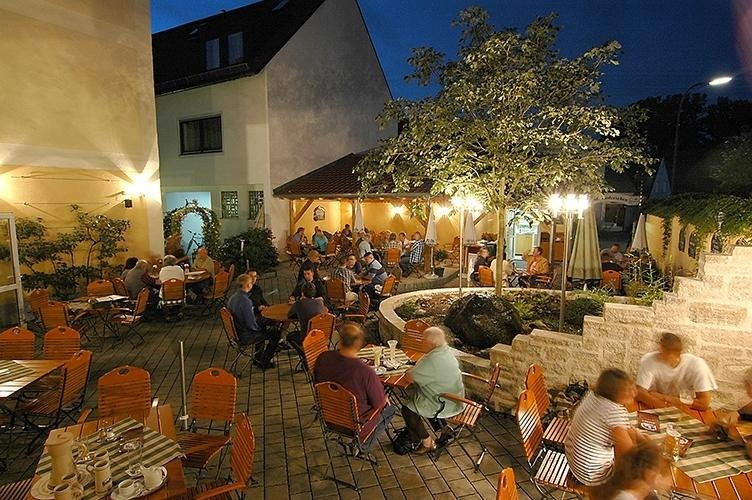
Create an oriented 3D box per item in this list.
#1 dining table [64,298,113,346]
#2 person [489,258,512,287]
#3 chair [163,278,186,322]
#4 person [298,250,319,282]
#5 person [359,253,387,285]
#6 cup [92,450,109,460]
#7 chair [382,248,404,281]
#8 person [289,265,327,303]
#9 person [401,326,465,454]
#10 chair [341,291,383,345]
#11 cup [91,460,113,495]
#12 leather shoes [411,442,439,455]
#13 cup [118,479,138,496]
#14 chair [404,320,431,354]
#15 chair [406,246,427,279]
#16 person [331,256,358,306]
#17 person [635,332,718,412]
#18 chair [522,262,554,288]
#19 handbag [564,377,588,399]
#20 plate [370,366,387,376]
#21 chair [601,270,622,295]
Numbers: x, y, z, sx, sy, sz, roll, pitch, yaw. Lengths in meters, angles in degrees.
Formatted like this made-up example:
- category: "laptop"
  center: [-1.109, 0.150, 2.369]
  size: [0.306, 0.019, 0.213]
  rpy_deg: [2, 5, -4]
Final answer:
- category: "dining table"
  center: [-6.926, 1.742, 10.485]
  size: [0.853, 1.142, 0.855]
  rpy_deg: [9, 12, 27]
- category: "person"
  center: [3.580, 0.669, 12.511]
  size: [0.870, 0.861, 0.486]
  rpy_deg: [0, 2, 6]
- category: "chair"
  center: [-5.676, 1.346, 12.199]
  size: [0.565, 1.186, 1.374]
  rpy_deg: [-2, 3, -26]
- category: "person"
  center: [-1.977, 0.446, 12.828]
  size: [0.337, 1.130, 0.353]
  rpy_deg: [3, 36, -16]
- category: "person"
  center: [-0.076, 0.629, 13.292]
  size: [0.741, 1.101, 0.816]
  rpy_deg: [3, 11, 15]
- category: "cup"
  center: [-3.507, 2.636, 5.545]
  size: [0.150, 0.110, 0.153]
  rpy_deg: [2, -2, 0]
- category: "chair"
  center: [0.654, 0.357, 16.175]
  size: [0.805, 1.419, 0.932]
  rpy_deg: [0, -1, 13]
- category: "person"
  center: [-1.612, 0.793, 10.951]
  size: [1.121, 1.234, 0.849]
  rpy_deg: [-1, 9, -2]
- category: "person"
  center: [0.929, 2.307, 7.168]
  size: [0.987, 2.091, 0.308]
  rpy_deg: [0, 3, 9]
- category: "chair"
  center: [-0.214, 1.836, 11.787]
  size: [1.218, 1.615, 1.291]
  rpy_deg: [-1, 2, -28]
- category: "cup"
  center: [-3.346, 2.773, 5.355]
  size: [0.183, 0.373, 0.163]
  rpy_deg: [-3, 4, -38]
- category: "leather shoes"
  center: [0.822, 3.338, 7.308]
  size: [0.430, 0.180, 0.146]
  rpy_deg: [2, -1, -4]
- category: "cup"
  center: [-2.999, 2.891, 5.298]
  size: [0.153, 0.154, 0.211]
  rpy_deg: [-5, -9, 12]
- category: "chair"
  center: [0.770, 1.702, 8.652]
  size: [0.478, 0.865, 0.601]
  rpy_deg: [1, 3, 18]
- category: "chair"
  center: [1.813, 0.374, 17.290]
  size: [1.063, 1.538, 1.038]
  rpy_deg: [-1, 0, -6]
- category: "person"
  center: [-0.903, 0.952, 12.605]
  size: [0.618, 1.486, 0.822]
  rpy_deg: [5, 24, 13]
- category: "person"
  center: [4.640, 1.893, 6.659]
  size: [1.245, 1.337, 0.812]
  rpy_deg: [0, -3, 37]
- category: "chair"
  center: [5.092, 0.739, 13.793]
  size: [0.768, 1.258, 0.985]
  rpy_deg: [2, 3, 12]
- category: "handbag"
  center: [3.444, 2.392, 7.477]
  size: [0.366, 0.111, 0.299]
  rpy_deg: [-36, 50, -3]
- category: "plate"
  center: [0.033, 2.056, 7.343]
  size: [0.251, 0.062, 0.241]
  rpy_deg: [3, 5, 24]
- category: "chair"
  center: [7.085, 0.896, 13.074]
  size: [0.577, 0.821, 0.292]
  rpy_deg: [6, 5, 28]
